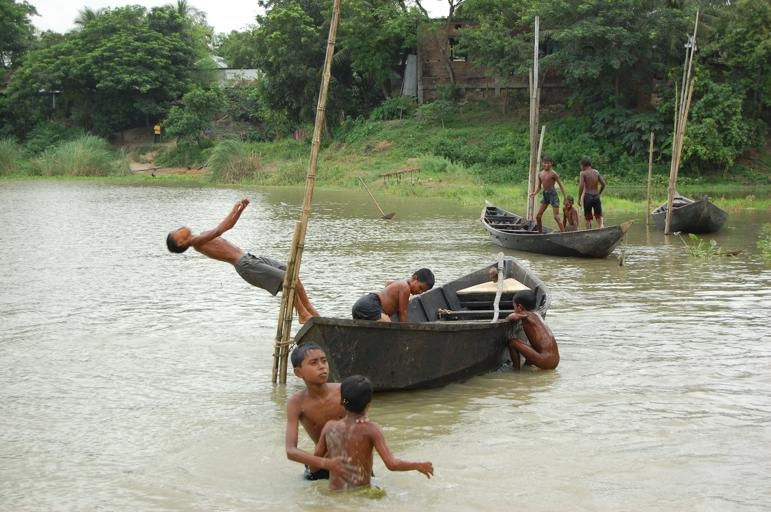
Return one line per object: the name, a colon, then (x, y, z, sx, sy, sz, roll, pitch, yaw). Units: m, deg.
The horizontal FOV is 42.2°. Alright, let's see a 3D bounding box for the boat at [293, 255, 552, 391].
boat: (1.286, 1.367, 20.714, 2.186, 1.461, 6.083, -2, 4, 39)
